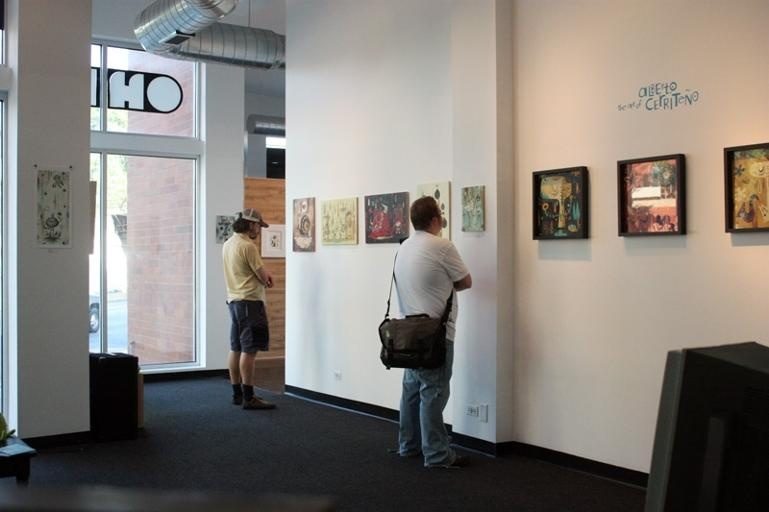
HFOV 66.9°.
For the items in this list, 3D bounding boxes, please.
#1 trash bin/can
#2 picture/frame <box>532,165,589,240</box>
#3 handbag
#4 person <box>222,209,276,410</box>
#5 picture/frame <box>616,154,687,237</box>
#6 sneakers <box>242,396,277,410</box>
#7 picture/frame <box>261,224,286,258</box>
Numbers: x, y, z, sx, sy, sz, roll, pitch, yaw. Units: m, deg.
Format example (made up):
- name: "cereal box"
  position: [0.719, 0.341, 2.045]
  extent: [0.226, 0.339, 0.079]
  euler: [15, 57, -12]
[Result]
- name: "trash bin/can"
  position: [-2.443, 1.263, 5.270]
  extent: [0.401, 0.719, 0.307]
  euler: [-3, 4, -21]
- name: "picture/frame"
  position: [1.357, -0.402, 4.421]
  extent: [0.071, 0.672, 0.510]
  euler: [5, -6, -39]
- name: "handbag"
  position: [0.197, 0.645, 4.439]
  extent: [0.619, 0.536, 0.352]
  euler: [-4, -11, 29]
- name: "person"
  position: [-1.467, 0.571, 6.308]
  extent: [0.444, 2.146, 0.547]
  euler: [-3, 4, -30]
- name: "picture/frame"
  position: [1.826, -0.404, 3.934]
  extent: [0.070, 0.694, 0.531]
  euler: [1, -2, -38]
- name: "sneakers"
  position: [-1.344, 1.581, 6.301]
  extent: [0.429, 0.199, 0.136]
  euler: [-1, -3, -4]
- name: "picture/frame"
  position: [-1.654, -0.225, 8.589]
  extent: [0.430, 0.552, 0.046]
  euler: [-7, 11, -36]
